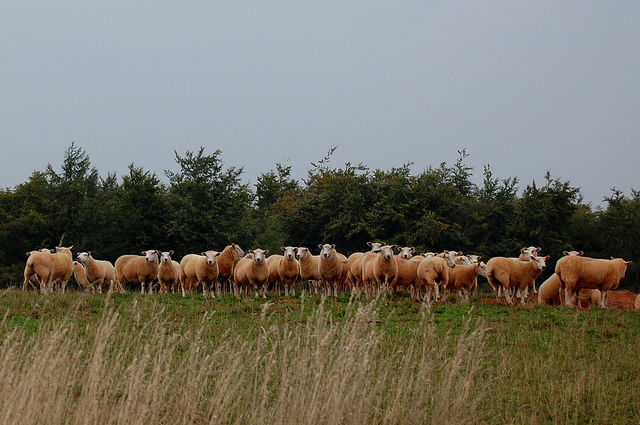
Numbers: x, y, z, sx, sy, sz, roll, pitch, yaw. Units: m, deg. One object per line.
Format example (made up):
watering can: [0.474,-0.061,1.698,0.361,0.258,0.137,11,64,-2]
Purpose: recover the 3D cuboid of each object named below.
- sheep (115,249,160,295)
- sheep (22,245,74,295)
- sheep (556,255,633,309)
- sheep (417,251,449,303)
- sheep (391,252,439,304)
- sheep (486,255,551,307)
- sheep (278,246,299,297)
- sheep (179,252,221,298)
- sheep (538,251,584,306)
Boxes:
sheep: [-8.367,2.781,34.898,3.100,1.893,1.239,-6,-10,38]
sheep: [-11.199,2.406,32.132,0.969,2.177,3.723,-6,-8,9]
sheep: [10.069,2.567,28.131,2.804,2.032,1.356,2,-6,-5]
sheep: [4.414,2.640,30.040,1.255,2.073,2.421,3,12,9]
sheep: [3.622,2.592,31.120,1.317,1.627,2.519,3,12,13]
sheep: [7.498,2.506,29.266,2.591,1.995,1.092,5,-9,-25]
sheep: [-1.331,2.479,32.117,0.874,2.264,1.473,0,11,-4]
sheep: [-5.172,2.661,33.215,1.104,1.918,3.136,-2,1,-37]
sheep: [9.732,2.864,29.874,2.640,1.907,0.998,-3,3,-34]
